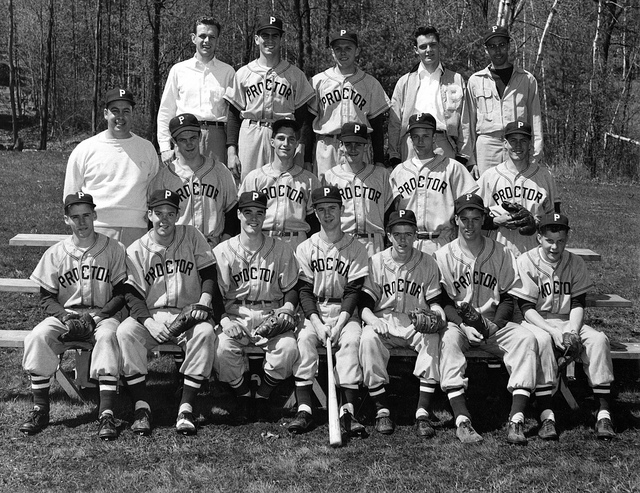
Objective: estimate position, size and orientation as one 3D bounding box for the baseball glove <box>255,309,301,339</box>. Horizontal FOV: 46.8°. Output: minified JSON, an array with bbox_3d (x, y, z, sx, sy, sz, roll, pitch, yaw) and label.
[{"bbox_3d":[-0.480,0.881,9.368,0.394,0.244,0.526,5,6,17],"label":"baseball glove"}]

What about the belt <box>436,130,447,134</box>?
[{"bbox_3d":[1.813,-1.730,11.082,0.162,0.060,0.043,-7,16,-28],"label":"belt"}]

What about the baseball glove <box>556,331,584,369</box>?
[{"bbox_3d":[3.077,1.259,9.071,0.387,0.463,0.237,-11,18,-37],"label":"baseball glove"}]

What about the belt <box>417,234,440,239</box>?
[{"bbox_3d":[1.505,-0.146,10.405,0.285,0.071,0.039,2,14,6],"label":"belt"}]

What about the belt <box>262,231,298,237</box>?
[{"bbox_3d":[-0.560,-0.190,10.364,0.479,0.076,0.075,-1,14,-7],"label":"belt"}]

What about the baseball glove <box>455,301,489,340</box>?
[{"bbox_3d":[1.874,0.893,9.141,0.256,0.206,0.668,10,-33,54],"label":"baseball glove"}]

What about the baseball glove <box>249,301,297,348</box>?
[{"bbox_3d":[-0.555,0.935,9.270,0.634,0.391,0.291,-35,-16,-12],"label":"baseball glove"}]

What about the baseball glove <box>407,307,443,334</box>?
[{"bbox_3d":[1.299,0.916,9.075,0.384,0.298,0.302,-2,15,-10],"label":"baseball glove"}]

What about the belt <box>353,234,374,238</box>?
[{"bbox_3d":[0.607,-0.157,10.303,0.278,0.054,0.066,-2,15,-10],"label":"belt"}]

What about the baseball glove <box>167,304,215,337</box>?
[{"bbox_3d":[-1.596,0.865,9.079,0.453,0.216,0.356,-16,33,-34],"label":"baseball glove"}]

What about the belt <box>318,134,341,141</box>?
[{"bbox_3d":[0.150,-1.635,10.946,0.180,0.057,0.183,7,3,36],"label":"belt"}]
